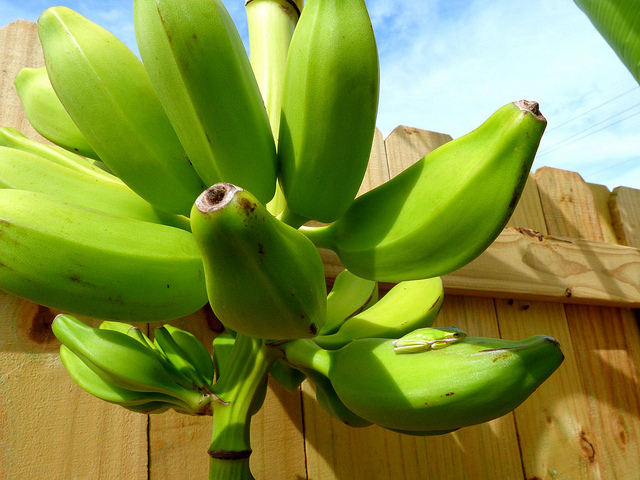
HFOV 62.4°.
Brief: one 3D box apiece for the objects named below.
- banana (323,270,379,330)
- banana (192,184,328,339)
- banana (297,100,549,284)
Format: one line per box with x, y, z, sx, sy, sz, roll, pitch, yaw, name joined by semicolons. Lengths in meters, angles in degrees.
0.058;0.108;1.032;0.057;0.052;0.174;33;42;18;banana
-0.069;0.033;0.649;0.156;0.177;0.095;2;48;0;banana
0.133;0.014;0.896;0.160;0.534;0.224;14;59;-43;banana
